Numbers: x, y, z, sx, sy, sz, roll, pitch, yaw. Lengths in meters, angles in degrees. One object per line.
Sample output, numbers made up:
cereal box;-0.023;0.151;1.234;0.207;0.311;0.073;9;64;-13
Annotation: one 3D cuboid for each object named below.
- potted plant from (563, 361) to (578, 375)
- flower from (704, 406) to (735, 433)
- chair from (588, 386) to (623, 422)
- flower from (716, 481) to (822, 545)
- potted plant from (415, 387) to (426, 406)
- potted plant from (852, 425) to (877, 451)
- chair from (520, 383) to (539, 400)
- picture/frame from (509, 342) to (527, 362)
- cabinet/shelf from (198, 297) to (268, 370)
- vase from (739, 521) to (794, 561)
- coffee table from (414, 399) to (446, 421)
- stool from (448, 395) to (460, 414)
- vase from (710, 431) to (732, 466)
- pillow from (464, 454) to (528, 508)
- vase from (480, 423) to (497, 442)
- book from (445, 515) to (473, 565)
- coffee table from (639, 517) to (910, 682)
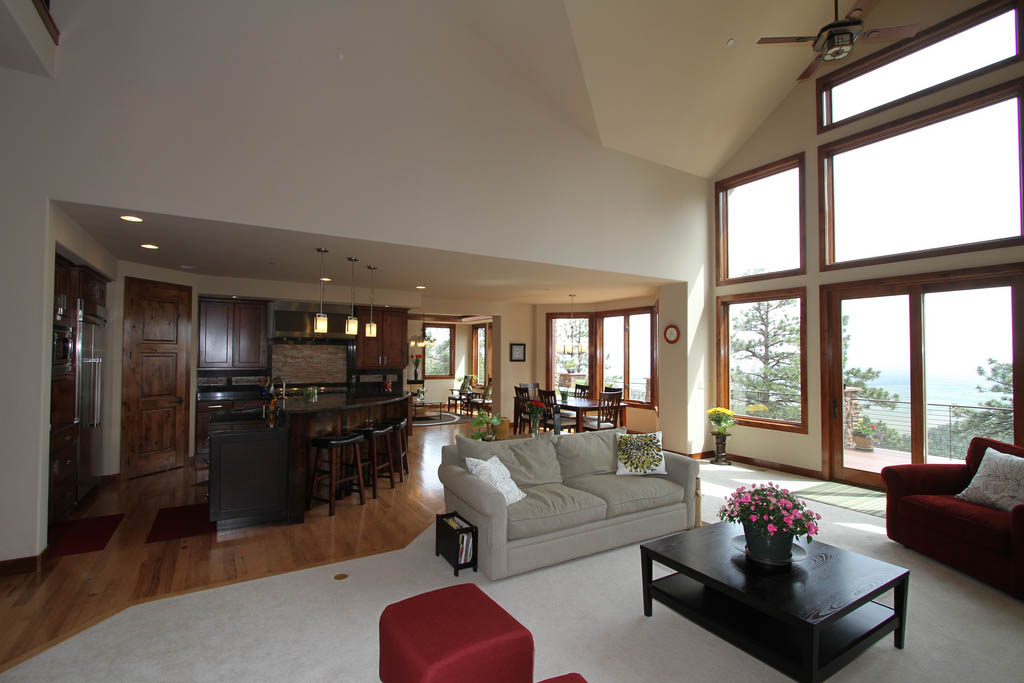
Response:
potted plant;1.221;0.506;13.443;0.279;0.257;0.088;-1;-4;11
flower;3.247;1.228;10.058;0.400;0.431;0.417;1;4;7
chair;1.612;1.088;10.816;0.455;0.820;0.522;0;5;-17
flower;2.307;1.561;6.080;0.663;0.413;0.679;3;0;-13
potted plant;-2.152;1.241;14.721;0.332;0.397;0.347;0;-4;4
potted plant;4.802;1.310;8.880;0.252;0.352;0.303;0;1;-41
chair;0.342;0.939;12.330;0.298;0.459;0.259;0;3;3
picture/frame;0.098;0.213;13.523;0.395;0.419;0.041;2;-1;-34
cabinet/shelf;-4.455;-0.145;10.195;1.066;1.295;0.433;2;-4;-35
vase;2.345;1.822;5.894;0.341;0.282;0.389;0;-5;1
coffee table;-1.916;1.598;15.229;0.728;0.434;2.727;0;-5;-6
stool;-1.471;1.585;16.235;0.348;0.519;0.482;1;-1;-13
vase;3.224;1.632;9.969;0.404;0.599;0.428;0;-1;6
pillow;-0.161;1.452;6.740;0.644;0.465;0.644;0;-5;-4
vase;-0.265;1.104;7.772;0.170;0.261;0.175;1;-7;0
book;-0.536;2.041;6.566;0.176;0.510;0.510;-1;2;-17
coffee table;2.281;2.279;5.892;1.398;0.687;1.474;-4;3;-35
